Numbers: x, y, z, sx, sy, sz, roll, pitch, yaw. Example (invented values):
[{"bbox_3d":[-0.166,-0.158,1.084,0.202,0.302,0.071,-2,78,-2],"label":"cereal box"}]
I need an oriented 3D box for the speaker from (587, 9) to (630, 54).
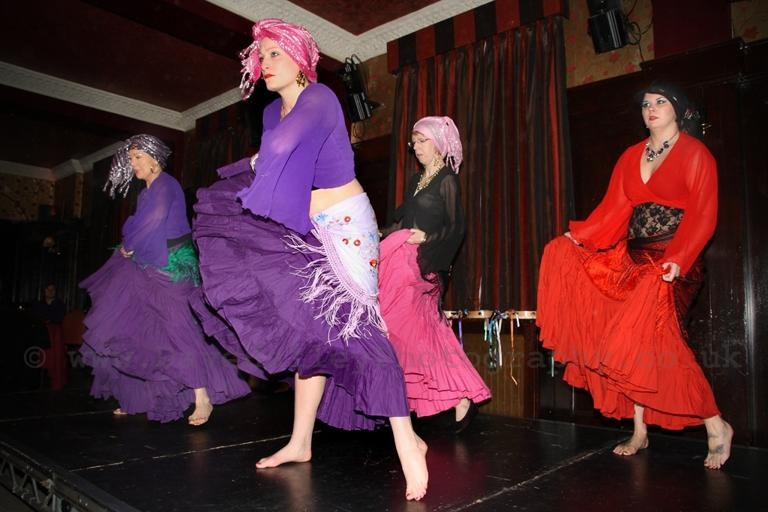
[{"bbox_3d":[1.782,-1.790,4.690,0.294,0.419,0.280,-14,10,-14],"label":"speaker"}]

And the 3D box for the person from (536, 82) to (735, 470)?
[{"bbox_3d":[1.624,0.066,3.725,1.183,2.314,0.633,4,6,30],"label":"person"}]

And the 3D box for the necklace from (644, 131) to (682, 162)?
[{"bbox_3d":[1.802,-0.704,3.767,0.180,0.117,0.140,-19,-9,-5],"label":"necklace"}]

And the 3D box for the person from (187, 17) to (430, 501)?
[{"bbox_3d":[-0.447,-0.052,3.336,1.276,2.622,0.939,0,2,3],"label":"person"}]
